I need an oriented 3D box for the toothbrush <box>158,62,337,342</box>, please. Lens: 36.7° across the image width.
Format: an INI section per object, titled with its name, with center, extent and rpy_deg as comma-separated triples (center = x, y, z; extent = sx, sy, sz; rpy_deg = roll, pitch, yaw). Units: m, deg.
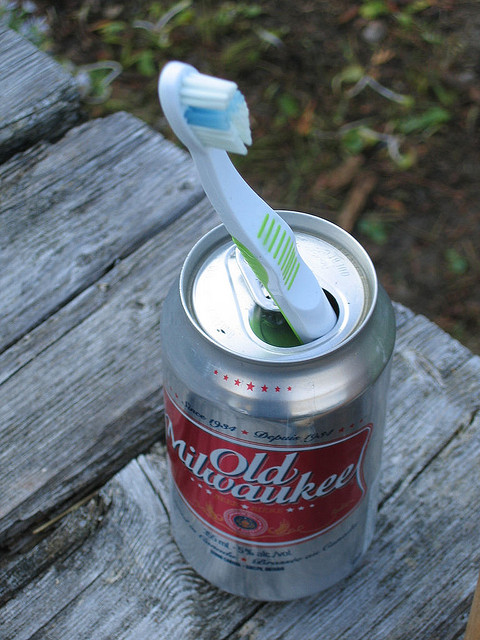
[toothbrush]
center = 0.016, -0.109, 0.713
extent = 0.154, 0.304, 0.134
rpy_deg = -9, 47, -5
